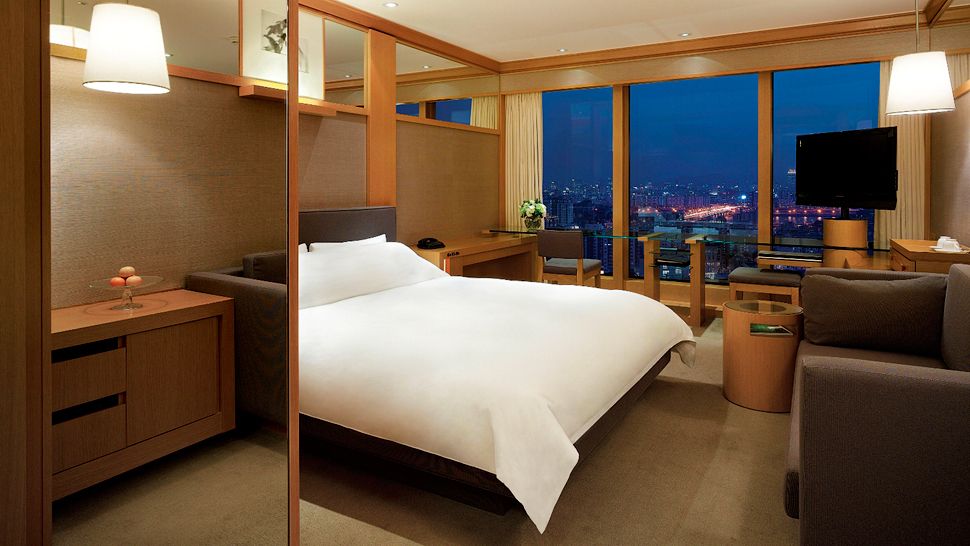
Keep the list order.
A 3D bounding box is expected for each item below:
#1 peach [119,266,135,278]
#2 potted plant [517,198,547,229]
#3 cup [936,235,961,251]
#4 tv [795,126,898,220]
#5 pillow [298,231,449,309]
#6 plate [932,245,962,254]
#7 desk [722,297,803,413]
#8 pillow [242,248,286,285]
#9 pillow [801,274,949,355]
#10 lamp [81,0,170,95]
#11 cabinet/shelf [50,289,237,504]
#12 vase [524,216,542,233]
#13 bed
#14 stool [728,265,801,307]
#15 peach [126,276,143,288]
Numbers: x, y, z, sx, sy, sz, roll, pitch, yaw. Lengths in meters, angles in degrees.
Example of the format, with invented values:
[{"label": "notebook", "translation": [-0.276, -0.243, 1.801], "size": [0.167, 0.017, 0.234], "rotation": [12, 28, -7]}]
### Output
[{"label": "peach", "translation": [-1.312, -0.004, 2.322], "size": [0.050, 0.035, 0.038], "rotation": [5, -5, -9]}, {"label": "potted plant", "translation": [0.581, -0.694, 7.358], "size": [0.383, 0.349, 0.370], "rotation": [-2, 5, 11]}, {"label": "cup", "translation": [3.519, -0.225, 4.776], "size": [0.172, 0.145, 0.167], "rotation": [-2, 4, 0]}, {"label": "tv", "translation": [3.379, -0.924, 5.852], "size": [1.010, 0.883, 0.211], "rotation": [4, 5, 42]}, {"label": "pillow", "translation": [-0.948, -0.004, 4.858], "size": [0.725, 0.134, 0.591], "rotation": [-12, 26, -42]}, {"label": "plate", "translation": [3.321, -0.160, 4.527], "size": [0.201, 0.028, 0.176], "rotation": [15, 19, 42]}, {"label": "desk", "translation": [1.849, 0.575, 4.711], "size": [0.736, 0.738, 0.702], "rotation": [1, 5, 14]}, {"label": "pillow", "translation": [-0.892, -0.027, 2.534], "size": [0.052, 0.125, 0.159], "rotation": [1, 0, 38]}, {"label": "pillow", "translation": [2.486, 0.271, 3.970], "size": [0.547, 0.324, 0.186], "rotation": [2, 3, 24]}, {"label": "lamp", "translation": [-1.290, -0.813, 2.381], "size": [0.342, 0.328, 0.318], "rotation": [1, 13, -27]}, {"label": "cabinet/shelf", "translation": [-1.304, 0.458, 2.357], "size": [0.415, 0.530, 0.797], "rotation": [7, 13, 39]}, {"label": "vase", "translation": [0.577, -0.562, 7.356], "size": [0.202, 0.148, 0.190], "rotation": [0, 4, -4]}, {"label": "bed", "translation": [-0.385, 0.478, 3.836], "size": [2.070, 0.676, 1.977], "rotation": [6, 10, 27]}, {"label": "stool", "translation": [2.657, 0.103, 5.960], "size": [0.543, 0.321, 0.380], "rotation": [4, 6, 38]}, {"label": "peach", "translation": [-1.290, 0.032, 2.329], "size": [0.036, 0.025, 0.047], "rotation": [-1, 7, 12]}]
